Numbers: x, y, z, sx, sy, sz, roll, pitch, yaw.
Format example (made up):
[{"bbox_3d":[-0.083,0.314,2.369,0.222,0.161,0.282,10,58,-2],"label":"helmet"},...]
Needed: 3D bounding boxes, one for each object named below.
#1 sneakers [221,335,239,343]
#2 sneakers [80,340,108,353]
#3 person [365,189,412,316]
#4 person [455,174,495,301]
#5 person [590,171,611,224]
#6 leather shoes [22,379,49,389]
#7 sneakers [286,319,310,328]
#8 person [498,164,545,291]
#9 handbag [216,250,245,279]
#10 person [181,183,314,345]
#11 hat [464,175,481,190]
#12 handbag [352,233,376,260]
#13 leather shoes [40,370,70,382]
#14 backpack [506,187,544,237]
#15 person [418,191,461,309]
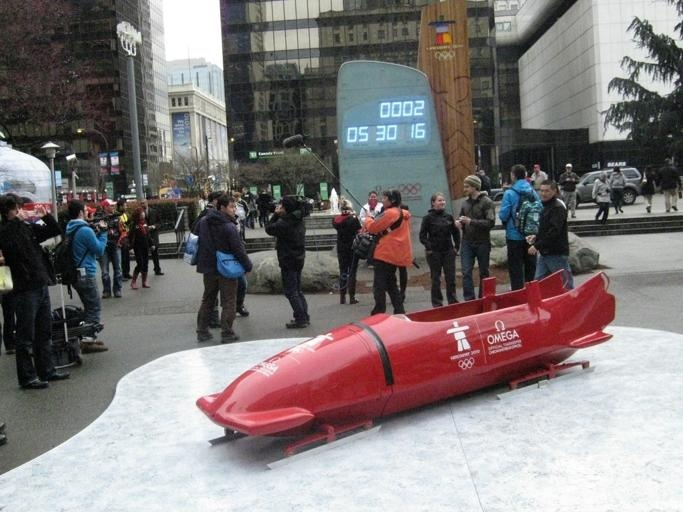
[{"bbox_3d":[-1.811,1.356,11.988,0.285,0.149,0.111,-7,10,-22],"label":"sneakers"},{"bbox_3d":[-4.016,1.463,11.901,0.355,0.140,0.204,-6,15,-20],"label":"sneakers"},{"bbox_3d":[0.793,-0.038,12.037,0.724,2.102,0.916,-4,6,2],"label":"person"},{"bbox_3d":[2.436,-0.308,13.163,0.646,2.269,0.812,-3,6,10],"label":"person"},{"bbox_3d":[8.876,-1.986,24.928,0.490,1.669,2.201,-2,6,19],"label":"person"},{"bbox_3d":[-4.291,1.805,10.270,0.313,0.157,0.143,-2,5,-6],"label":"leather shoes"},{"bbox_3d":[-0.761,1.200,12.834,0.413,0.205,0.158,4,4,5],"label":"sneakers"},{"bbox_3d":[3.070,-0.483,12.705,0.784,2.431,0.740,-12,28,-9],"label":"person"},{"bbox_3d":[-1.788,0.116,11.742,0.174,0.353,0.337,-25,-1,30],"label":"handbag"},{"bbox_3d":[-1.952,0.218,11.943,0.981,2.372,0.488,-2,6,19],"label":"person"},{"bbox_3d":[2.394,-1.347,13.248,0.302,0.288,0.245,-5,15,-18],"label":"hat"},{"bbox_3d":[0.390,-0.179,12.227,0.319,0.447,0.413,15,21,19],"label":"handbag"},{"bbox_3d":[-4.109,1.724,10.499,0.368,0.168,0.126,-7,14,-22],"label":"leather shoes"},{"bbox_3d":[3.156,-0.812,12.630,0.476,0.805,0.781,2,12,-15],"label":"backpack"},{"bbox_3d":[1.832,-0.101,13.462,0.704,2.105,0.812,-3,6,9],"label":"person"}]
